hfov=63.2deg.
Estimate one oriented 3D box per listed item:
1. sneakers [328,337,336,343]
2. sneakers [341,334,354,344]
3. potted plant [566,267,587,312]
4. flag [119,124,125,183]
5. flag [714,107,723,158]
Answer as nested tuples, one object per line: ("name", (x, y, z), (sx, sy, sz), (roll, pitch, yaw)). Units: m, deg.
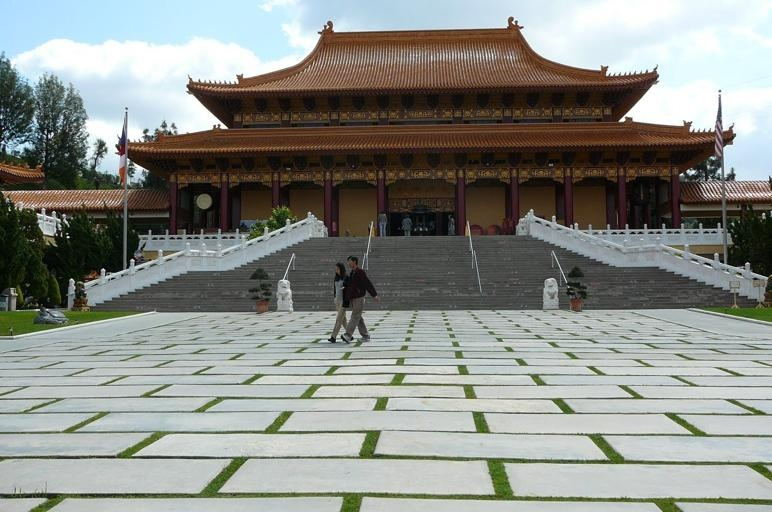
("sneakers", (-1.026, 1.624, 12.140), (0.076, 0.097, 0.145), (-9, -18, 44))
("sneakers", (-0.759, 1.579, 12.124), (0.220, 0.193, 0.343), (0, 2, -3))
("potted plant", (6.024, 0.979, 19.809), (0.560, 1.362, 2.105), (0, 2, 17))
("flag", (-10.681, -4.105, 25.428), (0.273, 2.109, 1.489), (-1, 2, -23))
("flag", (13.868, -5.104, 26.149), (0.216, 1.981, 0.627), (0, 2, 20))
